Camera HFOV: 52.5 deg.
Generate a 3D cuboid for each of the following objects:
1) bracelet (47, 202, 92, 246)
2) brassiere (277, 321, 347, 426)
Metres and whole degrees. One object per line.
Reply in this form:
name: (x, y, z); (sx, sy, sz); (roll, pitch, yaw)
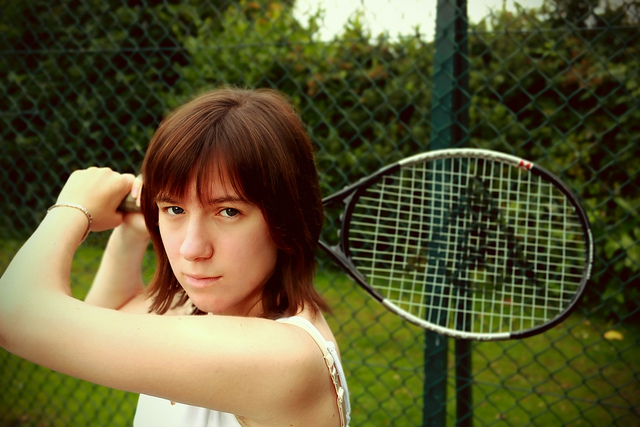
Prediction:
bracelet: (-1.136, 0.046, 2.969); (0.196, 0.199, 0.135); (9, -14, -29)
brassiere: (0.002, 0.696, 2.817); (0.349, 0.438, 0.121); (13, -16, -40)
